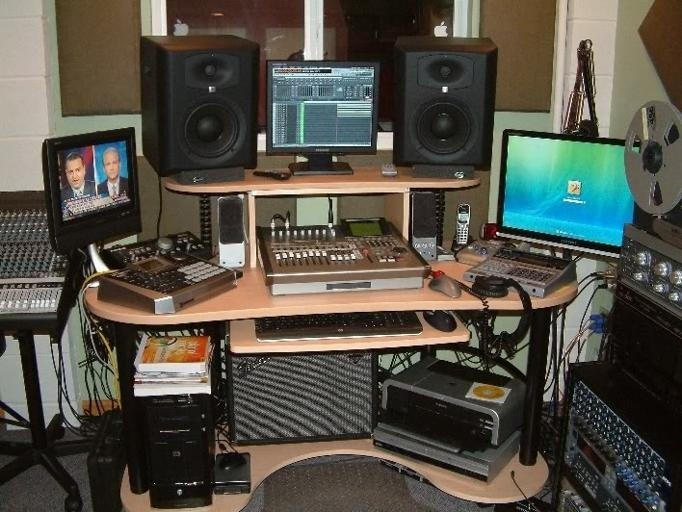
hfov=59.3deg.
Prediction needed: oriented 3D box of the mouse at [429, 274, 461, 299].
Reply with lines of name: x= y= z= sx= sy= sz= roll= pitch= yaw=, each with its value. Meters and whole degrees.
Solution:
mouse: x=0.452 y=0.131 z=2.586 sx=0.080 sy=0.054 sz=0.125 roll=-24 pitch=31 yaw=-22

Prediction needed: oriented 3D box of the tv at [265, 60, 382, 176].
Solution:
tv: x=-0.086 y=-0.668 z=2.849 sx=0.547 sy=0.559 sz=0.190 roll=0 pitch=14 yaw=-4

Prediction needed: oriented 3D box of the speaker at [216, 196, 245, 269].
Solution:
speaker: x=-0.506 y=-0.108 z=2.817 sx=0.125 sy=0.333 sz=0.043 roll=-2 pitch=17 yaw=-10

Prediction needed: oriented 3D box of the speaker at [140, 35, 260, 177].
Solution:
speaker: x=-0.634 y=-0.740 z=2.827 sx=0.534 sy=0.635 sz=0.520 roll=-17 pitch=37 yaw=-34

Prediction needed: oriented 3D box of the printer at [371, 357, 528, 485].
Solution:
printer: x=0.536 y=0.780 z=2.940 sx=0.594 sy=0.335 sz=0.510 roll=9 pitch=16 yaw=36

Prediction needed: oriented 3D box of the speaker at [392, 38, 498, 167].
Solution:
speaker: x=0.517 y=-0.752 z=2.898 sx=0.462 sy=0.613 sz=0.342 roll=6 pitch=34 yaw=15

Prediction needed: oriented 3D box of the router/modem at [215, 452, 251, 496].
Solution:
router/modem: x=-0.490 y=0.986 z=2.754 sx=0.168 sy=0.063 sz=0.228 roll=-2 pitch=38 yaw=-11

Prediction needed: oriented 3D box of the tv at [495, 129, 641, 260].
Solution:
tv: x=1.026 y=-0.273 z=2.719 sx=0.545 sy=0.426 sz=0.087 roll=9 pitch=20 yaw=25

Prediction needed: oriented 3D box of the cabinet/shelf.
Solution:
cabinet/shelf: x=-0.050 y=0.348 z=2.770 sx=1.512 sy=1.074 sz=0.770 roll=-1 pitch=20 yaw=-5

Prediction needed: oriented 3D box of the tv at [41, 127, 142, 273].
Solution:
tv: x=-1.111 y=-0.236 z=2.690 sx=0.220 sy=0.703 sz=0.489 roll=16 pitch=24 yaw=33

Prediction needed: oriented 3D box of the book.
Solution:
book: x=-0.729 y=0.487 z=2.658 sx=0.316 sy=0.186 sz=0.310 roll=-5 pitch=16 yaw=-7

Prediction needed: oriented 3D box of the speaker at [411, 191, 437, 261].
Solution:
speaker: x=0.412 y=-0.080 z=2.968 sx=0.146 sy=0.183 sz=0.350 roll=-1 pitch=57 yaw=11

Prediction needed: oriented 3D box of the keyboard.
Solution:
keyboard: x=-0.010 y=0.302 z=2.582 sx=0.703 sy=0.081 sz=0.140 roll=-4 pitch=16 yaw=-3
